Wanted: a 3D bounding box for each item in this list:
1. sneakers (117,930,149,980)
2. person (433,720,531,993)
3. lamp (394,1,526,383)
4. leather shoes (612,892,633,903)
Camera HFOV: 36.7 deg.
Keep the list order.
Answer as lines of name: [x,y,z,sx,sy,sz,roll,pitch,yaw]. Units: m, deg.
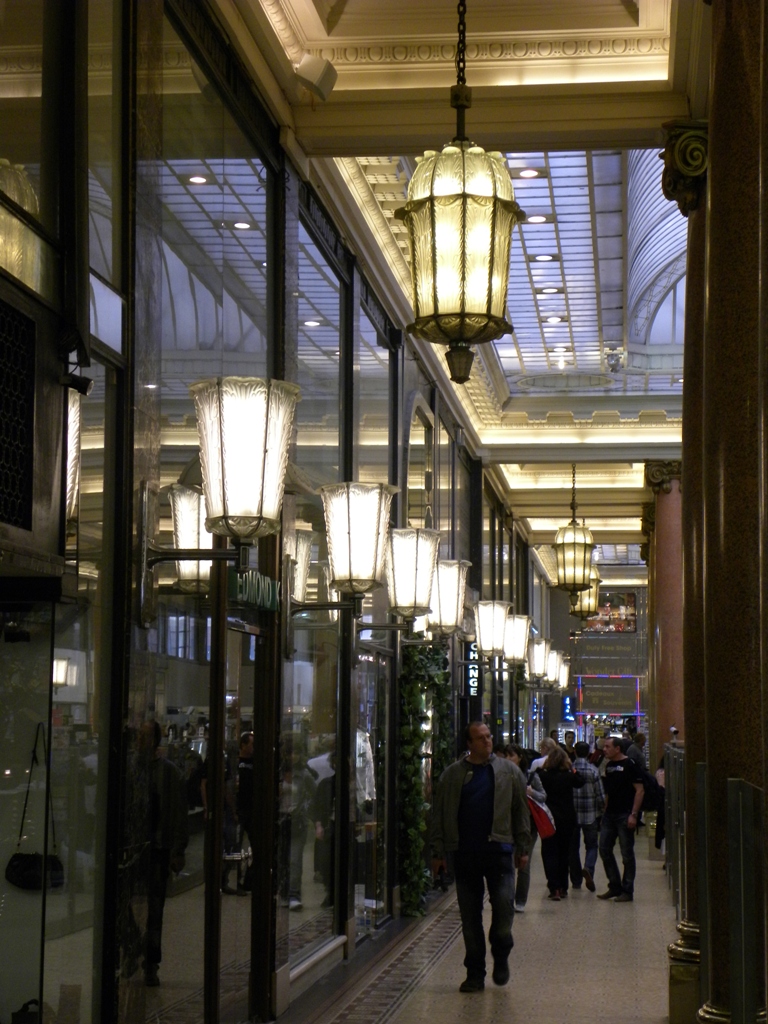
sneakers: [-0.842,1.485,3.855,0.037,0.085,0.116,-1,13,2]
person: [0.590,2.143,7.162,0.581,1.595,0.356,0,-7,2]
lamp: [0.209,-0.922,3.240,0.360,1.164,0.578,0,-8,2]
leather shoes: [2.355,3.864,11.540,0.218,0.098,0.272,-1,-10,9]
